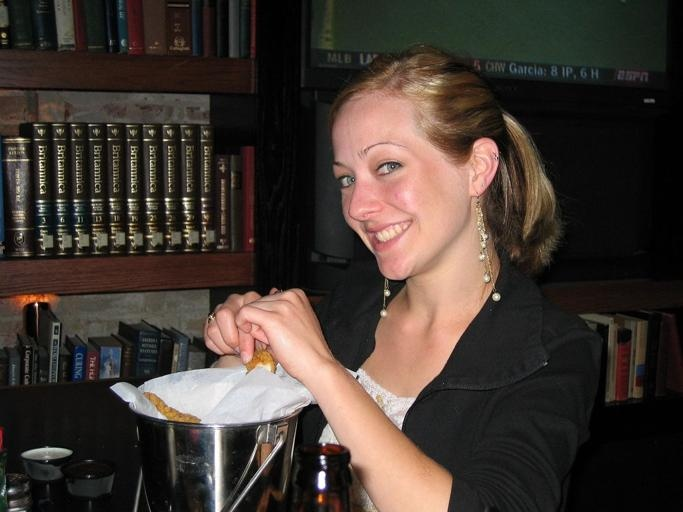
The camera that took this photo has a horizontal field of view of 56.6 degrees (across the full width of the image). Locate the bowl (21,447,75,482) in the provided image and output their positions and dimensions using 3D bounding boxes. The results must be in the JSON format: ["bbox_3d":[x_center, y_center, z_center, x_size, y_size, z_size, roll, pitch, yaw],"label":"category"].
[{"bbox_3d":[-0.681,0.482,1.464,0.117,0.050,0.119,2,-2,0],"label":"bowl"}]

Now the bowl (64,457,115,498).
[{"bbox_3d":[-0.564,0.492,1.399,0.106,0.046,0.107,9,-1,0],"label":"bowl"}]

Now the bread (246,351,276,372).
[{"bbox_3d":[-0.139,0.186,1.131,0.043,0.032,0.041,-30,6,10],"label":"bread"}]
